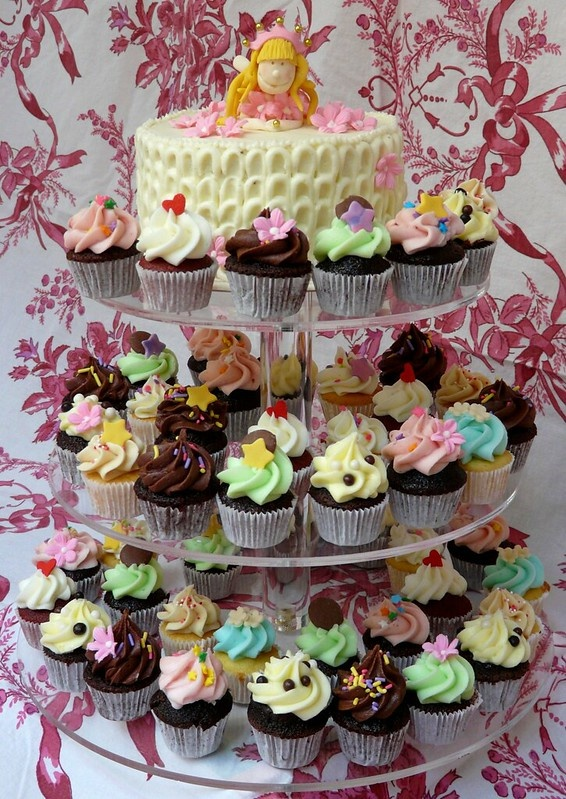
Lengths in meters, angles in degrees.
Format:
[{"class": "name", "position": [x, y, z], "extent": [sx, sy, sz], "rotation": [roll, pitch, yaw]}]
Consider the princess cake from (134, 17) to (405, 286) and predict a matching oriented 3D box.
[{"class": "princess cake", "position": [-0.056, -0.577, 1.593], "extent": [0.638, 0.468, 0.547], "rotation": [-9, 35, -12]}]
